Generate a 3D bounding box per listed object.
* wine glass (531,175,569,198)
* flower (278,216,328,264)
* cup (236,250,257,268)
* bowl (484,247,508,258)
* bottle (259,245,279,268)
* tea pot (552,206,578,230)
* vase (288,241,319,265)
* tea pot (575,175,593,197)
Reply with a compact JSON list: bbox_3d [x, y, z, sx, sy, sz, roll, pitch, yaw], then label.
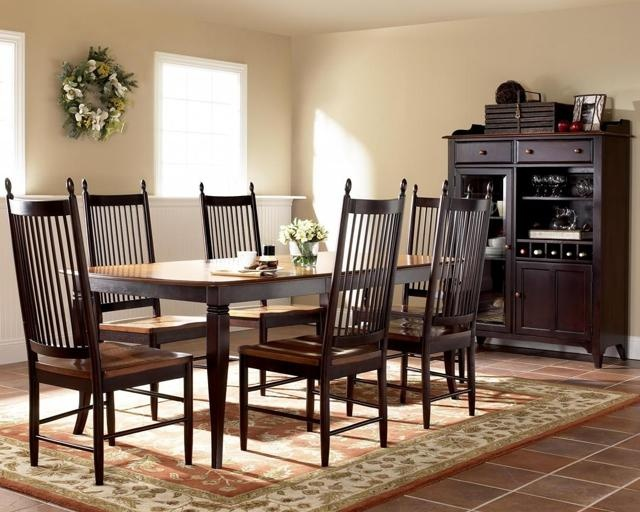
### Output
[{"bbox_3d":[1.980,-0.573,4.725,0.245,0.154,0.268,1,3,34],"label":"wine glass"},{"bbox_3d":[-0.128,-0.097,3.326,0.368,0.277,0.346,-1,-6,26],"label":"flower"},{"bbox_3d":[-0.384,0.019,2.827,0.124,0.073,0.096,-1,-1,33],"label":"cup"},{"bbox_3d":[1.561,-0.035,4.885,0.178,0.051,0.184,1,3,0],"label":"bowl"},{"bbox_3d":[-0.287,0.003,3.356,0.178,0.147,0.169,3,0,-7],"label":"bottle"},{"bbox_3d":[2.074,-0.310,4.657,0.203,0.195,0.082,-9,-8,12],"label":"tea pot"},{"bbox_3d":[-0.115,-0.020,3.197,0.174,0.095,0.140,2,2,22],"label":"vase"},{"bbox_3d":[2.188,-0.588,4.537,0.175,0.200,0.088,-1,-13,36],"label":"tea pot"}]
